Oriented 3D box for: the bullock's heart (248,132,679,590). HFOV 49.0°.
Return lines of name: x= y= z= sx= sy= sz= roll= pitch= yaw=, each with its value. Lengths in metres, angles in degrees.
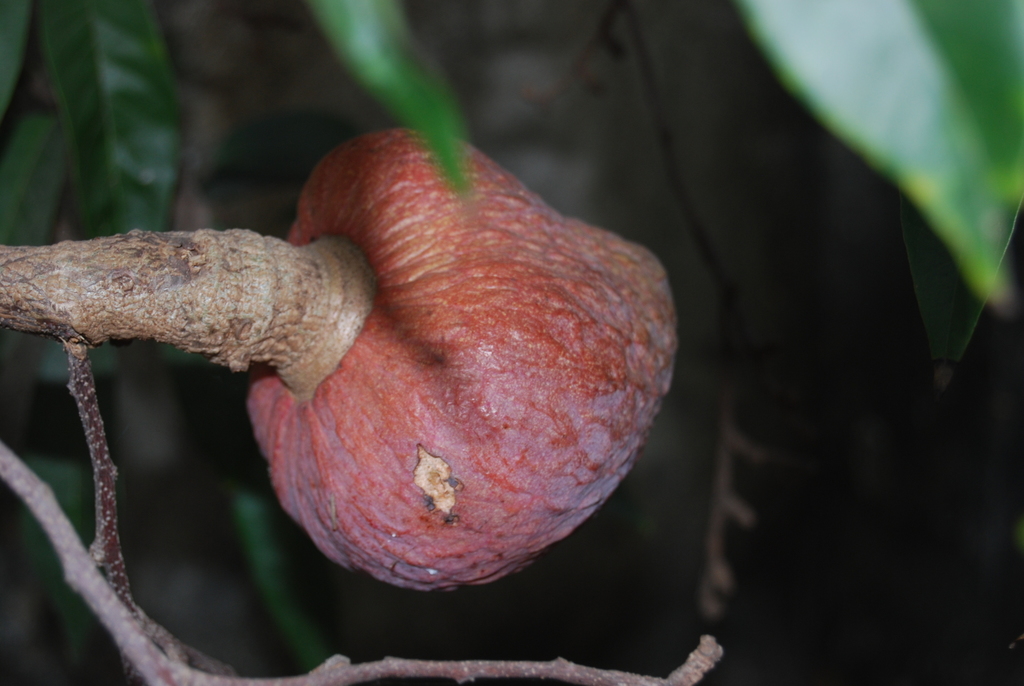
bullock's heart: x=-0.050 y=0.043 z=1.480 sx=0.523 sy=0.324 sz=0.576 roll=-5 pitch=54 yaw=53
